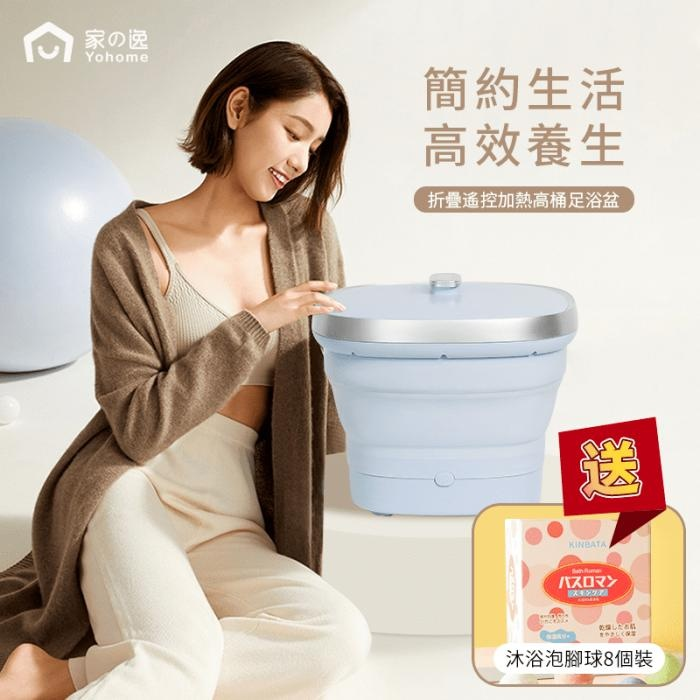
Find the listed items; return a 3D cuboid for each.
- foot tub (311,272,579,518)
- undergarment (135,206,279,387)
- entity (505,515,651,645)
[{"bbox_3d":[0.187,0.075,1.551,0.623,0.390,0.444,-1,7,1],"label":"foot tub"},{"bbox_3d":[-0.242,-0.107,1.478,0.310,0.355,0.241,4,-5,-31],"label":"undergarment"},{"bbox_3d":[0.393,0.395,1.257,0.297,0.208,0.138,-2,1,4],"label":"entity"}]
